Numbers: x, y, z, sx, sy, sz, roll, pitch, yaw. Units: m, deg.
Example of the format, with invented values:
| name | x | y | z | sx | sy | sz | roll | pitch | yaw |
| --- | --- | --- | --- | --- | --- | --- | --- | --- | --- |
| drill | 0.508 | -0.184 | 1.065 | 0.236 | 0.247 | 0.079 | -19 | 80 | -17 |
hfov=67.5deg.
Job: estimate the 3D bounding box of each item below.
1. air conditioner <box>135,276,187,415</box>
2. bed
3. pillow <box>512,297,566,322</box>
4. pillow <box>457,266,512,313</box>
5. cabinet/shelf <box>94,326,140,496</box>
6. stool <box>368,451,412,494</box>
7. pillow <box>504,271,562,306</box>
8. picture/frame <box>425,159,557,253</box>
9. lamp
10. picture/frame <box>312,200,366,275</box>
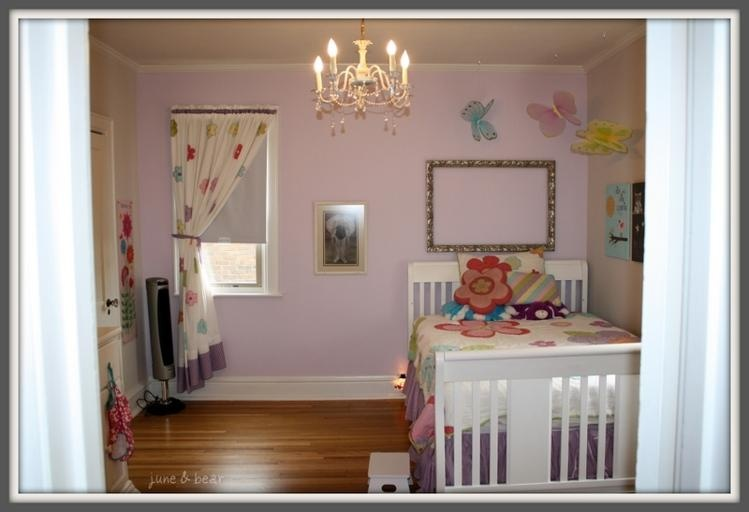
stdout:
| name | x | y | z | sx | sy | sz | roll | pitch | yaw |
| --- | --- | --- | --- | --- | --- | --- | --- | --- | --- |
| air conditioner | -1.790 | 0.722 | 4.601 | 0.349 | 1.076 | 0.441 | -6 | 13 | -24 |
| bed | 0.839 | 0.578 | 3.638 | 1.217 | 0.939 | 1.916 | 0 | 7 | 5 |
| pillow | 1.342 | 0.428 | 4.492 | 0.335 | 0.078 | 0.193 | -2 | 6 | -12 |
| pillow | 0.871 | 0.236 | 4.591 | 0.483 | 0.502 | 0.112 | -7 | 36 | 8 |
| cabinet/shelf | -1.548 | 0.970 | 3.359 | 0.158 | 1.070 | 0.522 | -6 | 13 | -25 |
| stool | 0.083 | 1.202 | 3.121 | 0.218 | 0.103 | 0.298 | 1 | 11 | 6 |
| pillow | 1.298 | 0.207 | 4.485 | 0.417 | 0.255 | 0.113 | -1 | -25 | -7 |
| picture/frame | 0.966 | -0.462 | 4.853 | 0.813 | 0.579 | 0.037 | 0 | 3 | 0 |
| lamp | -0.103 | -1.515 | 4.385 | 0.789 | 1.048 | 0.776 | -3 | 3 | -6 |
| picture/frame | -0.318 | -0.191 | 4.838 | 0.640 | 0.832 | 0.035 | 0 | 1 | -3 |
